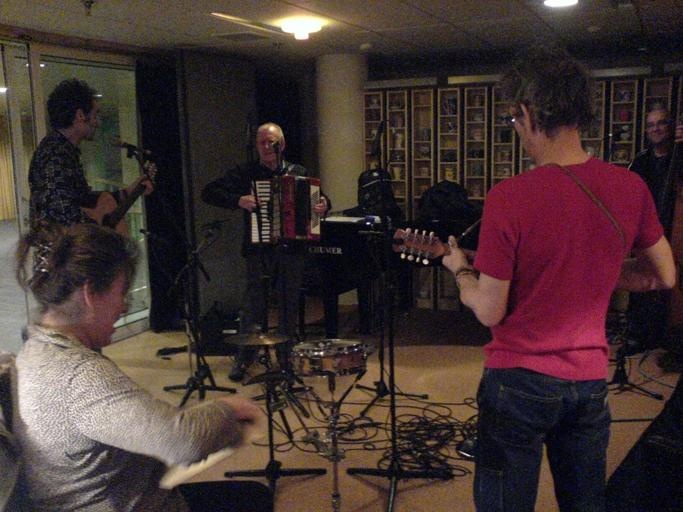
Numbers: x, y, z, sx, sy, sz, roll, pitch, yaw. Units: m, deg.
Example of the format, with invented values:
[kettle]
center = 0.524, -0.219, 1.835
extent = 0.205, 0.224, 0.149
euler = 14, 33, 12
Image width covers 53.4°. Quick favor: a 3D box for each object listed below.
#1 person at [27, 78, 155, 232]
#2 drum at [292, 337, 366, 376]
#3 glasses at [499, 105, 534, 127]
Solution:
[person]
center = -1.678, -0.650, 4.373
extent = 0.497, 0.970, 0.801
euler = 1, 7, 27
[drum]
center = -0.056, 0.531, 3.499
extent = 0.391, 0.155, 0.296
euler = -2, 6, -2
[glasses]
center = 0.617, -0.481, 2.340
extent = 0.075, 0.038, 0.096
euler = 7, 12, -10
